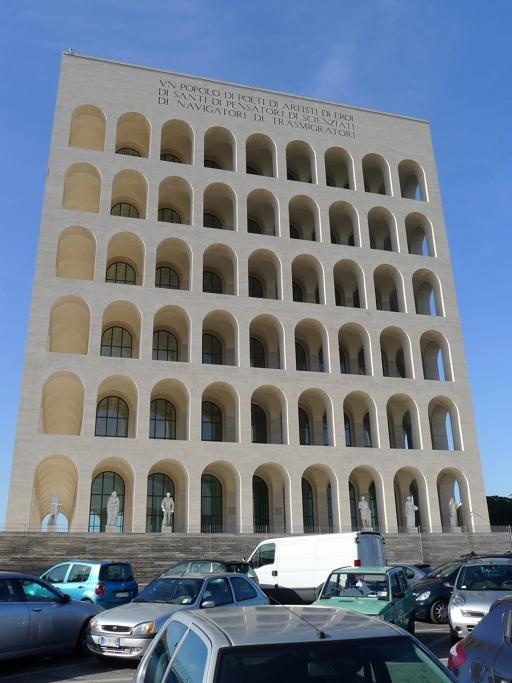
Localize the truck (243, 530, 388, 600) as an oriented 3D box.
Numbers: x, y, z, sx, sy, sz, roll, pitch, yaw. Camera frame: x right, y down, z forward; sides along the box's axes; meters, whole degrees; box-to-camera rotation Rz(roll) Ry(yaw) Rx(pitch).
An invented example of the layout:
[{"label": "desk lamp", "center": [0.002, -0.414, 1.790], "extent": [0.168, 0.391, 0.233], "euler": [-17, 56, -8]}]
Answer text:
[{"label": "truck", "center": [1.360, 5.995, 15.746], "extent": [4.118, 1.950, 2.192], "euler": [-21, -43, 32]}]
